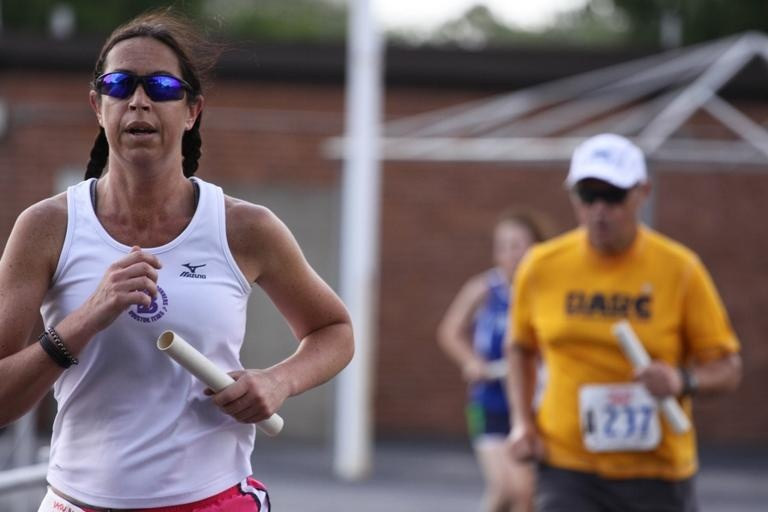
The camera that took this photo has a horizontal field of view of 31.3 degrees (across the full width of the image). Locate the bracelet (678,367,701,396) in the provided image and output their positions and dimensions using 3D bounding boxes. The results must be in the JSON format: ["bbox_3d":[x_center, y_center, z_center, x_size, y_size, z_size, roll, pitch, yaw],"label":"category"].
[{"bbox_3d":[1.647,0.678,7.423,0.098,0.157,0.065,0,4,-12],"label":"bracelet"}]

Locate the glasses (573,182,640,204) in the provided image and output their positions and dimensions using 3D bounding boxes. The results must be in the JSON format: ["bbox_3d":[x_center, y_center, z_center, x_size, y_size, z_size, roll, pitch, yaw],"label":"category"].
[{"bbox_3d":[1.203,-0.355,7.535,0.284,0.135,0.046,1,4,7],"label":"glasses"}]

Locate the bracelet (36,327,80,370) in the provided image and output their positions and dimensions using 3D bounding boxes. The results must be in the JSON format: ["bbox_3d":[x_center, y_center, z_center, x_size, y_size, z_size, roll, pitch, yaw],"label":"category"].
[{"bbox_3d":[-1.627,0.452,6.761,0.183,0.200,0.079,-1,4,-15],"label":"bracelet"}]

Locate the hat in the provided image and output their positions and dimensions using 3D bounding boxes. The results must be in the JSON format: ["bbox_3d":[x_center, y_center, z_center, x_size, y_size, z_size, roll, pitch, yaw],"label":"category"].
[{"bbox_3d":[1.258,-0.529,7.694,0.475,0.261,0.589,4,11,15],"label":"hat"}]
